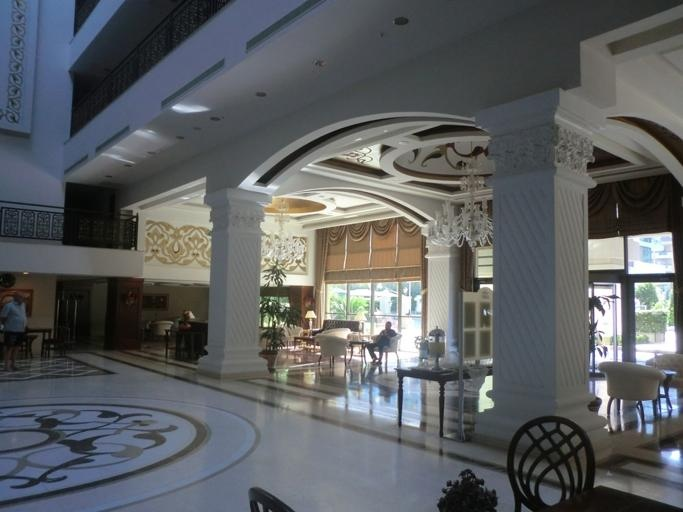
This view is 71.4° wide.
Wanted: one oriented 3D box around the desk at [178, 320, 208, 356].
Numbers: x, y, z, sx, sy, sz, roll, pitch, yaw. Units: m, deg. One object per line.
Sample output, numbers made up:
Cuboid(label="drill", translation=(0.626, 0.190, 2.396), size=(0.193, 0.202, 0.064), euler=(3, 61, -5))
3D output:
Cuboid(label="desk", translation=(-4.191, 2.317, 13.406), size=(0.903, 1.110, 0.955), euler=(-1, -7, 10))

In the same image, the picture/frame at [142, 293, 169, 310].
Cuboid(label="picture/frame", translation=(-8.051, 1.963, 20.587), size=(1.057, 0.682, 0.150), euler=(5, -7, -34))

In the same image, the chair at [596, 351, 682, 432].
Cuboid(label="chair", translation=(4.825, 1.963, 7.481), size=(1.189, 1.249, 1.294), euler=(-1, -2, -31))

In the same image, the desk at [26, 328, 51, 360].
Cuboid(label="desk", translation=(-8.542, 2.475, 13.366), size=(0.700, 0.933, 0.901), euler=(9, -14, -42))

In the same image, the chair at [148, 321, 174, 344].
Cuboid(label="chair", translation=(-7.091, 3.006, 18.646), size=(1.154, 0.870, 1.208), euler=(-5, -14, 31))

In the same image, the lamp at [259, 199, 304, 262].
Cuboid(label="lamp", translation=(-2.218, -0.983, 17.173), size=(1.661, 3.163, 1.779), euler=(0, -13, -3))
